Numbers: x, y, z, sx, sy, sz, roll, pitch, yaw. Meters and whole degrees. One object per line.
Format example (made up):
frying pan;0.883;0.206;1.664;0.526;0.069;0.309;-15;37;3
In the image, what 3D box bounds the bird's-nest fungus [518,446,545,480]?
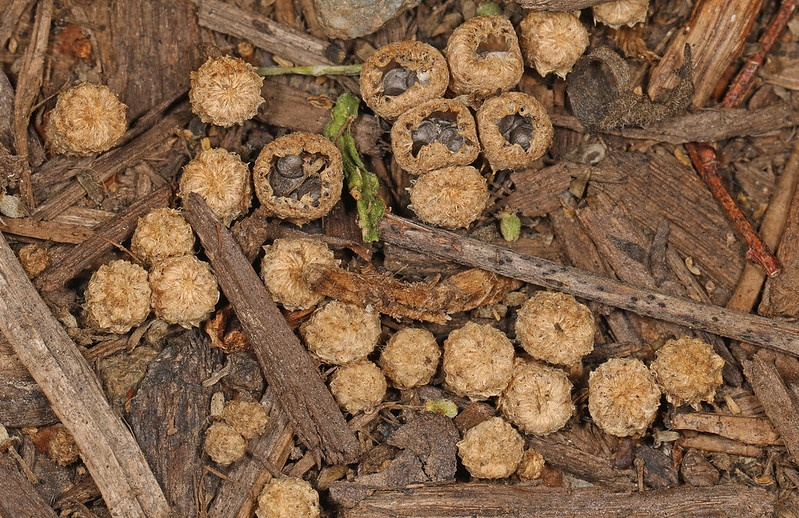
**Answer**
bird's-nest fungus;1.539;2.444;9.606;0.146;0.319;0.323;17;-43;-4
